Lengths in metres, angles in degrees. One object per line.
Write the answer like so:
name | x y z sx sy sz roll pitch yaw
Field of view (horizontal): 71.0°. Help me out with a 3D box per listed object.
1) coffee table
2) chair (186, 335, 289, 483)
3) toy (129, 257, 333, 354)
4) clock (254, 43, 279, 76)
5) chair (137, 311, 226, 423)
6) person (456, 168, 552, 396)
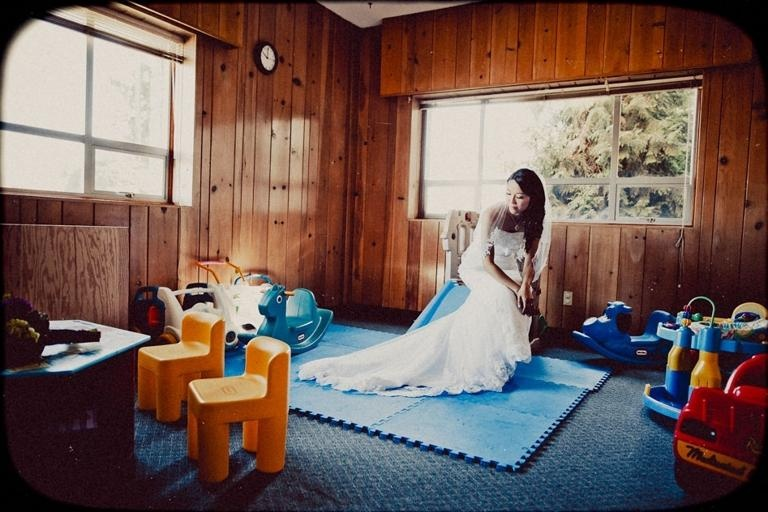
coffee table | -1.629 0.753 2.961 0.621 0.741 0.676 4 4 40
chair | -0.814 0.827 3.011 0.559 0.666 0.552 3 3 -7
toy | -1.175 0.446 4.415 0.853 0.580 1.113 0 -3 42
clock | -1.132 -1.924 5.224 0.270 0.289 0.278 5 7 24
chair | -1.284 0.675 3.440 0.464 0.586 0.445 1 4 -38
person | 0.844 0.143 4.025 0.648 1.607 0.773 2 6 18
